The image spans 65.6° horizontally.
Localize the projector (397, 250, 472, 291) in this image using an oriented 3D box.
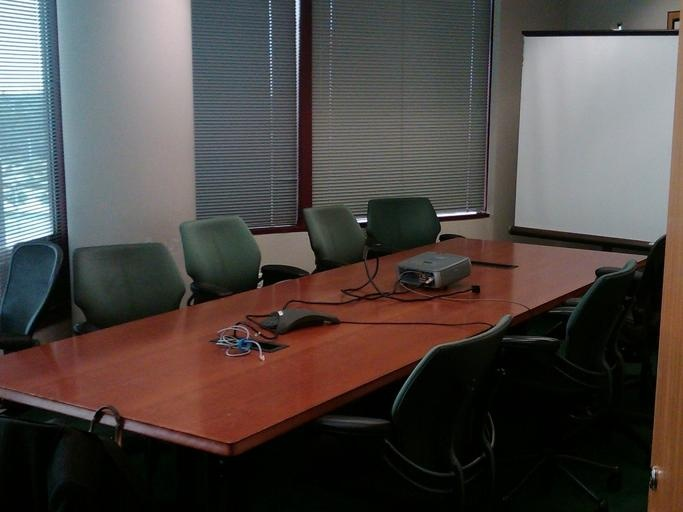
[{"bbox_3d":[0.507,0.090,2.919,0.389,0.148,0.368,-10,15,-22],"label":"projector"}]
